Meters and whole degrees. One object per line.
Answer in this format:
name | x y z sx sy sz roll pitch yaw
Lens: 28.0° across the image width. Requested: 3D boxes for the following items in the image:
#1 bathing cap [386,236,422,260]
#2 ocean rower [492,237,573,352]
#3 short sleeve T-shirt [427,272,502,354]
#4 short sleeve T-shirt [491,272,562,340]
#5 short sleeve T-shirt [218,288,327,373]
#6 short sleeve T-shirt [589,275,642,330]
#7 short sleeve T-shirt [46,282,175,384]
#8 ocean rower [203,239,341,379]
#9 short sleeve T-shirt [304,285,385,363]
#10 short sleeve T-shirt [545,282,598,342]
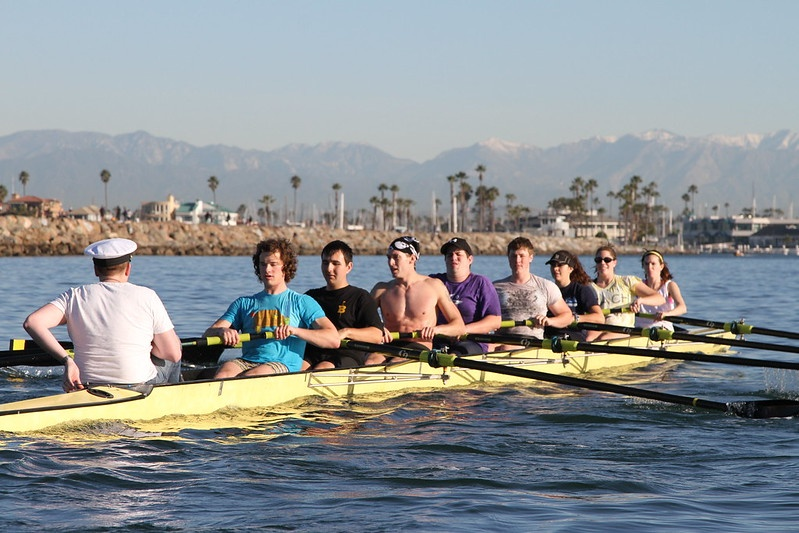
bathing cap | 0.030 -0.280 23.928 0.423 0.337 0.313 8 3 25
ocean rower | 2.069 0.470 25.707 1.782 2.176 1.616 -2 -4 11
short sleeve T-shirt | 1.063 0.616 24.837 0.588 0.995 1.073 -9 17 -32
short sleeve T-shirt | 1.959 0.721 25.460 1.588 1.254 0.502 0 -11 4
short sleeve T-shirt | -1.796 0.918 22.972 1.671 1.251 0.768 -1 -4 7
short sleeve T-shirt | 3.523 0.595 26.412 0.778 0.725 0.423 -3 -23 5
short sleeve T-shirt | -3.862 0.807 21.662 1.421 1.467 1.410 4 13 1
ocean rower | -1.837 0.567 22.792 1.776 1.808 0.718 -2 -1 -3
short sleeve T-shirt | -0.862 0.852 23.173 0.947 0.904 0.601 -5 -27 17
short sleeve T-shirt | 2.684 0.710 25.530 0.495 1.221 0.399 -23 8 14
